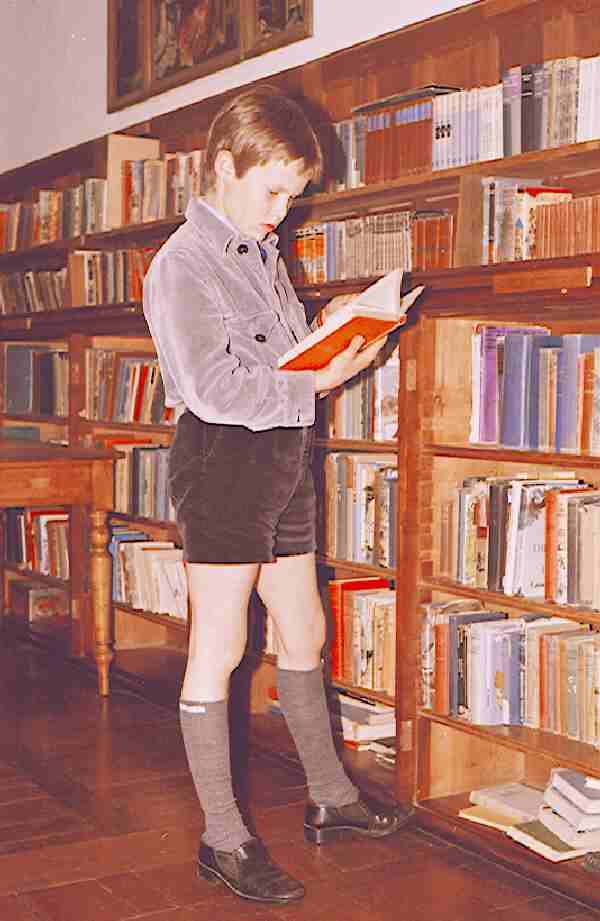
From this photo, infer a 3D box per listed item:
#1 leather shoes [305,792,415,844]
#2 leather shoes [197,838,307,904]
[{"bbox_3d":[0.140,0.806,1.930,0.238,0.100,0.107,-4,4,-16],"label":"leather shoes"},{"bbox_3d":[-0.092,0.781,1.642,0.227,0.095,0.090,1,2,41],"label":"leather shoes"}]
